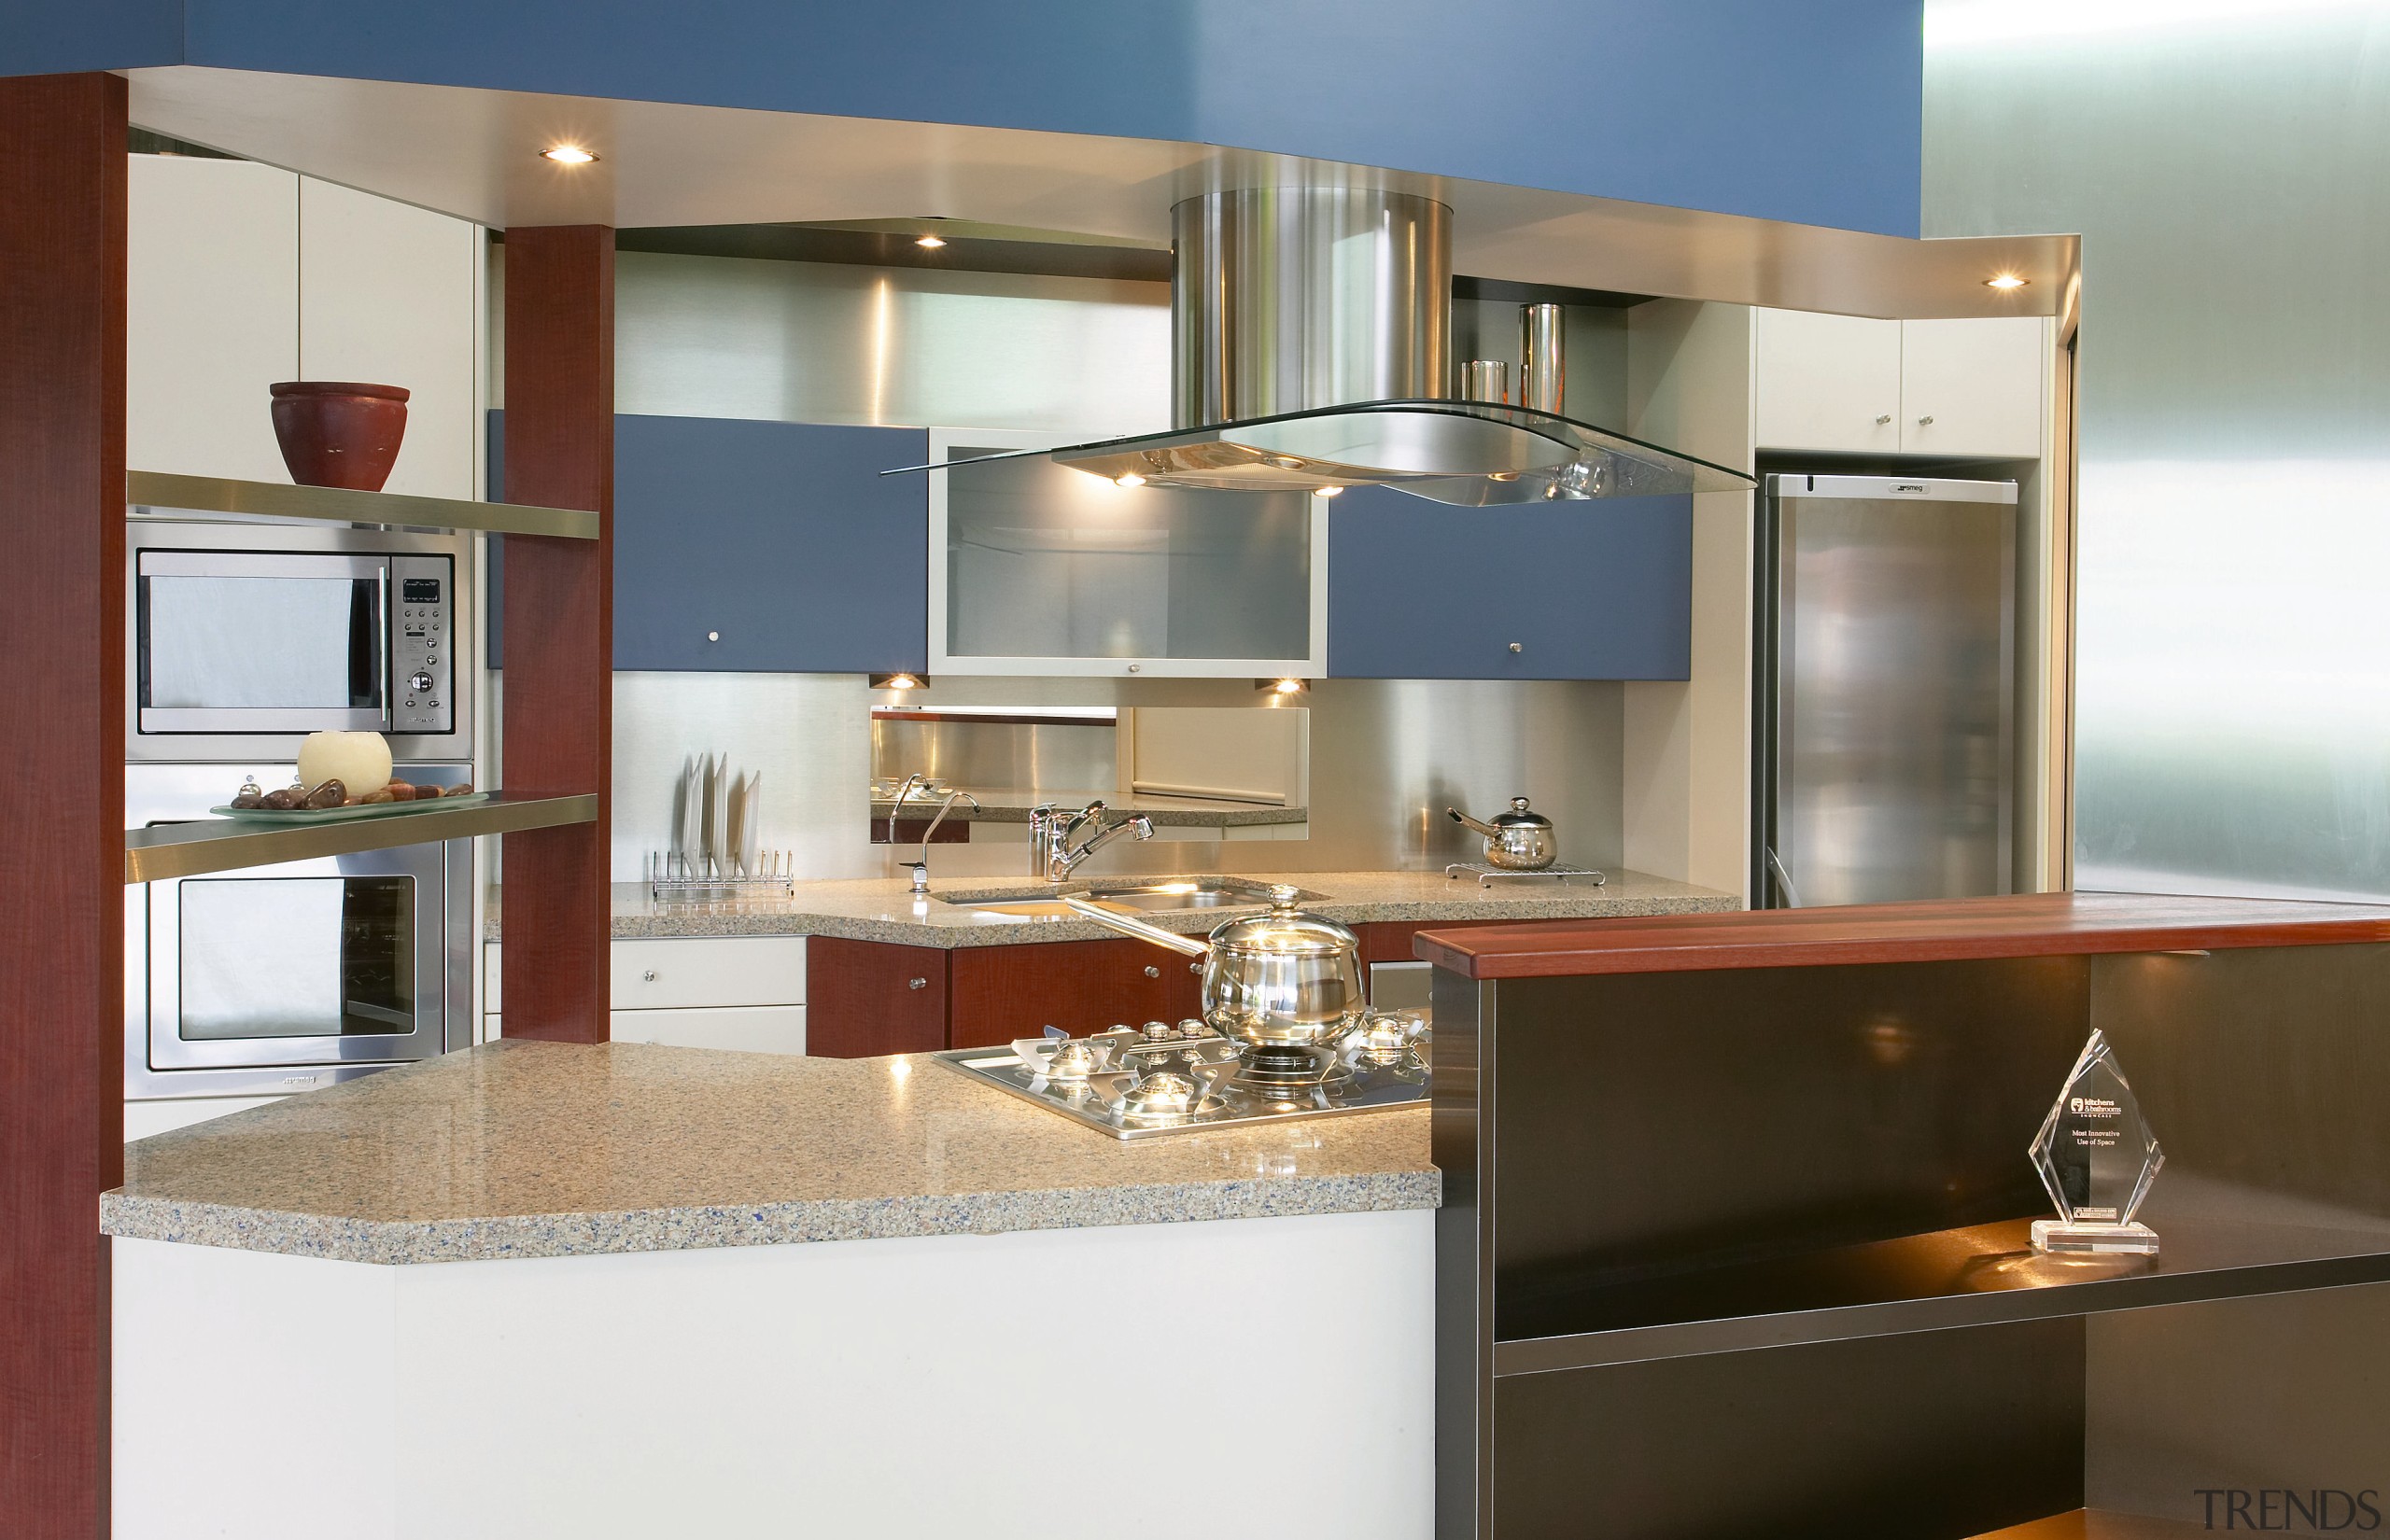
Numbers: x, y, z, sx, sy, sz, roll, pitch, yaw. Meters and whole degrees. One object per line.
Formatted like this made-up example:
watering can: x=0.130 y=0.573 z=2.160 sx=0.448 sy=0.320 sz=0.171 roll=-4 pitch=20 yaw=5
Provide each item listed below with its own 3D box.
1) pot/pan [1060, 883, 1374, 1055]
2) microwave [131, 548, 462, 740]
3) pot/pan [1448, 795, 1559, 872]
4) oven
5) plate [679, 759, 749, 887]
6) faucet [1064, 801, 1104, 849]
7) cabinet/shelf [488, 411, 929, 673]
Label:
pot/pan: x=0.038 y=0.354 z=3.817 sx=0.238 sy=0.205 sz=0.574 roll=3 pitch=-1 yaw=-36
microwave: x=-1.942 y=-0.279 z=4.878 sx=0.788 sy=0.423 sz=0.436 roll=0 pitch=0 yaw=9
pot/pan: x=0.879 y=0.170 z=6.076 sx=0.292 sy=0.198 sz=0.281 roll=-1 pitch=7 yaw=-12
oven: x=-1.966 y=0.416 z=4.874 sx=0.768 sy=0.619 sz=0.397 roll=-2 pitch=-13 yaw=-6
plate: x=-1.269 y=0.115 z=5.629 sx=0.214 sy=0.307 sz=0.110 roll=-2 pitch=8 yaw=-16
faucet: x=-0.306 y=0.144 z=5.792 sx=0.101 sy=0.122 sz=0.039 roll=30 pitch=-9 yaw=-28
cabinet/shelf: x=-1.315 y=-0.607 z=5.555 sx=1.034 sy=0.632 sz=0.567 roll=-2 pitch=13 yaw=-37
